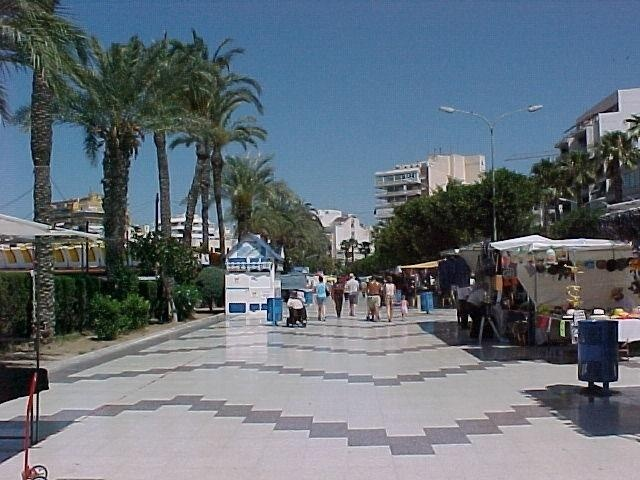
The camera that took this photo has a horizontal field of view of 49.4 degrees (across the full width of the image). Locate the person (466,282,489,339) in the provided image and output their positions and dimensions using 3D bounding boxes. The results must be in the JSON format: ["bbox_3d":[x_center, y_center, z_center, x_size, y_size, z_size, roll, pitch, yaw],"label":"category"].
[{"bbox_3d":[4.532,2.081,19.963,0.598,1.502,1.680,0,1,13],"label":"person"}]

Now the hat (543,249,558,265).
[{"bbox_3d":[5.735,0.427,17.301,0.339,0.488,0.327,0,10,8],"label":"hat"}]

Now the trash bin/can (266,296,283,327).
[{"bbox_3d":[-1.719,2.688,26.091,0.791,1.138,0.826,0,-6,-5],"label":"trash bin/can"}]

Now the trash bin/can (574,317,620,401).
[{"bbox_3d":[4.857,1.948,12.185,0.647,1.075,0.300,0,1,19],"label":"trash bin/can"}]

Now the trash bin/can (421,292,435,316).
[{"bbox_3d":[5.070,3.021,33.117,0.515,1.025,1.813,0,1,8],"label":"trash bin/can"}]

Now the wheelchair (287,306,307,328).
[{"bbox_3d":[-0.737,2.817,24.861,0.478,0.796,0.772,-3,-11,18],"label":"wheelchair"}]
